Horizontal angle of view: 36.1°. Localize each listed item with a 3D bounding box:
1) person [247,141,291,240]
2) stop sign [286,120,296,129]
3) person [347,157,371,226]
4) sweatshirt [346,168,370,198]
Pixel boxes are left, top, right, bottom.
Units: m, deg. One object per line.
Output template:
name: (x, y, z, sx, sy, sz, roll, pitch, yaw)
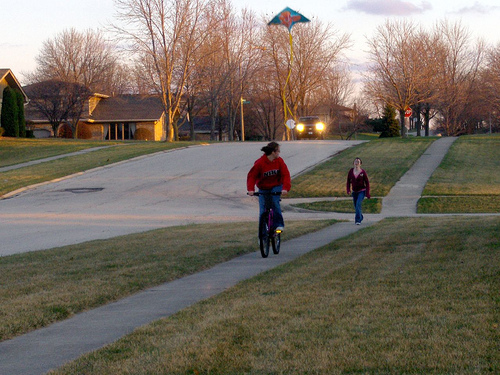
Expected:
person: (0.461, 0.060, 18.586, 1.004, 2.334, 1.128, -2, 13, 2)
stop sign: (2.522, -3.968, 48.914, 0.513, 0.533, 0.135, -1, -14, -43)
person: (3.345, 0.185, 23.707, 0.667, 2.056, 1.093, -1, 13, 7)
sweatshirt: (3.350, -0.097, 23.787, 0.667, 0.886, 0.480, -1, 13, 7)
